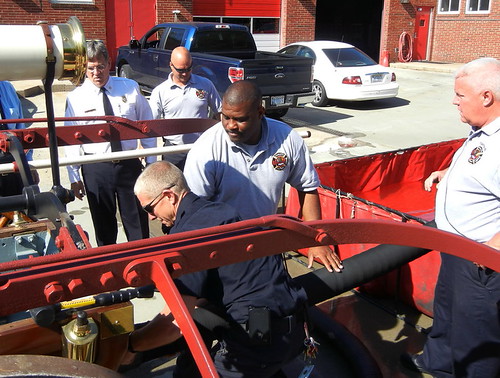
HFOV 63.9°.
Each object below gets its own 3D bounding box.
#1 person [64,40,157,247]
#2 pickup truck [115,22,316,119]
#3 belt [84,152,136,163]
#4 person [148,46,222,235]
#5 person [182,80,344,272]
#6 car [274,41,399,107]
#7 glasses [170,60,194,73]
[{"bbox_3d":[-1.464,-0.404,4.545,0.914,2.874,0.971,-4,12,-22],"label":"person"},{"bbox_3d":[-1.496,-3.144,11.364,2.763,2.109,5.664,-17,35,-36],"label":"pickup truck"},{"bbox_3d":[-1.191,-0.271,3.401,0.443,0.093,0.184,-6,16,-35],"label":"belt"},{"bbox_3d":[-0.796,-0.639,5.692,1.007,2.402,0.715,-8,13,-8],"label":"person"},{"bbox_3d":[-0.085,-0.137,3.350,0.891,1.649,0.995,1,24,-26],"label":"person"},{"bbox_3d":[2.673,-3.514,12.322,2.047,2.024,5.321,-6,14,-29],"label":"car"},{"bbox_3d":[-0.888,-1.564,5.216,0.263,0.139,0.204,-1,13,-15],"label":"glasses"}]
